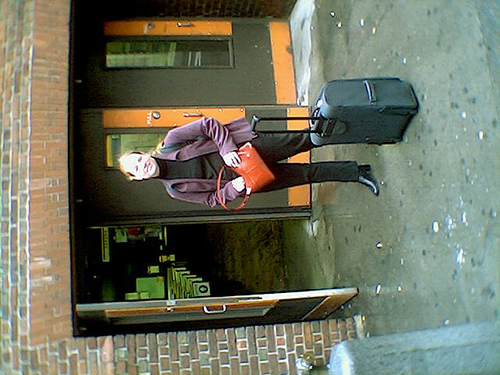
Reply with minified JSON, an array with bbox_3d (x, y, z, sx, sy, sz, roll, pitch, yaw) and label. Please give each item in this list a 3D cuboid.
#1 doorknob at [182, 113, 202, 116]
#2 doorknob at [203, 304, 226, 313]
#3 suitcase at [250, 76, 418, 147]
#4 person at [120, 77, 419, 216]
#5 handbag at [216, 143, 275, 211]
[{"bbox_3d":[-0.653,-0.831,7.742,0.208,0.046,0.020,-7,3,-12],"label":"doorknob"},{"bbox_3d":[-0.344,1.170,6.662,0.219,0.070,0.075,-7,3,-5],"label":"doorknob"},{"bbox_3d":[0.765,-0.704,6.306,1.361,0.642,0.585,0,41,-10],"label":"suitcase"},{"bbox_3d":[0.087,-0.322,6.366,2.590,1.015,0.881,-1,16,-13],"label":"person"},{"bbox_3d":[-0.029,-0.101,6.353,0.608,0.463,0.245,-34,-5,22],"label":"handbag"}]
